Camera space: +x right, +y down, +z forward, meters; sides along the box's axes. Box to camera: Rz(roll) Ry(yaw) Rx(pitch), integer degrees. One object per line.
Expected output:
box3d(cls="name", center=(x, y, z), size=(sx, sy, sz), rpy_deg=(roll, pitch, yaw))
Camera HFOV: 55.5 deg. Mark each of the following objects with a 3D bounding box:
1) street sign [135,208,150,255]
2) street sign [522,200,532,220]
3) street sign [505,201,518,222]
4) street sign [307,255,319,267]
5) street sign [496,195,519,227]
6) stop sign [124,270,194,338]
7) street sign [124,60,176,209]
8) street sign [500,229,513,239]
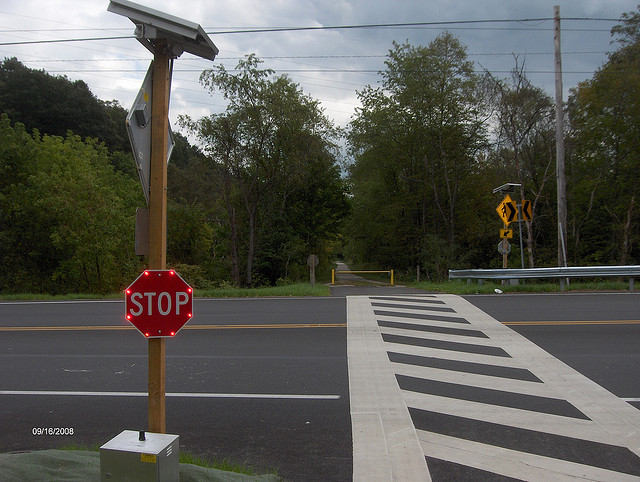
box3d(cls="street sign", center=(-2.996, -0.151, 10.194), size=(0.282, 0.768, 0.249), rpy_deg=(-5, 13, -17))
box3d(cls="street sign", center=(8.026, -1.240, 23.732), size=(0.285, 0.666, 0.415), rpy_deg=(3, 13, 16))
box3d(cls="street sign", center=(7.249, -1.134, 23.167), size=(0.067, 0.972, 0.755), rpy_deg=(-3, 1, 41))
box3d(cls="street sign", center=(-0.240, 0.796, 24.108), size=(0.349, 0.400, 0.084), rpy_deg=(-11, 11, -21))
box3d(cls="street sign", center=(6.992, -1.114, 23.190), size=(0.465, 1.136, 0.964), rpy_deg=(3, 13, 17))
box3d(cls="stop sign", center=(-2.729, 1.053, 10.208), size=(1.093, 1.125, 0.363), rpy_deg=(0, 12, 1))
box3d(cls="street sign", center=(-2.654, -1.860, 9.912), size=(1.741, 2.334, 0.201), rpy_deg=(14, 11, 40))
box3d(cls="street sign", center=(7.214, -0.302, 23.652), size=(0.557, 0.468, 0.083), rpy_deg=(2, 4, -8))
